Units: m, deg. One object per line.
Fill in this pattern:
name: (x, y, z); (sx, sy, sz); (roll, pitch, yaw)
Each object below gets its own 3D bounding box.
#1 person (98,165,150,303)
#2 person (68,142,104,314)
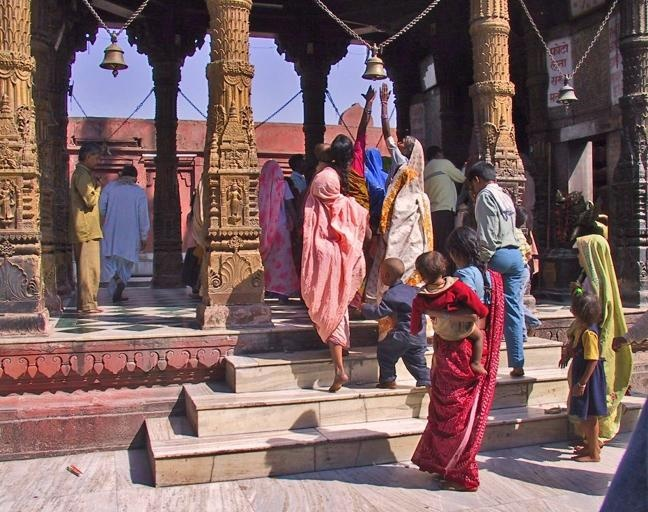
person: (-2.765, -0.309, 11.290); (0.645, 1.843, 0.713); (-1, 6, -16)
person: (-2.871, -0.328, 9.831); (0.356, 2.051, 0.571); (-1, 6, -15)
